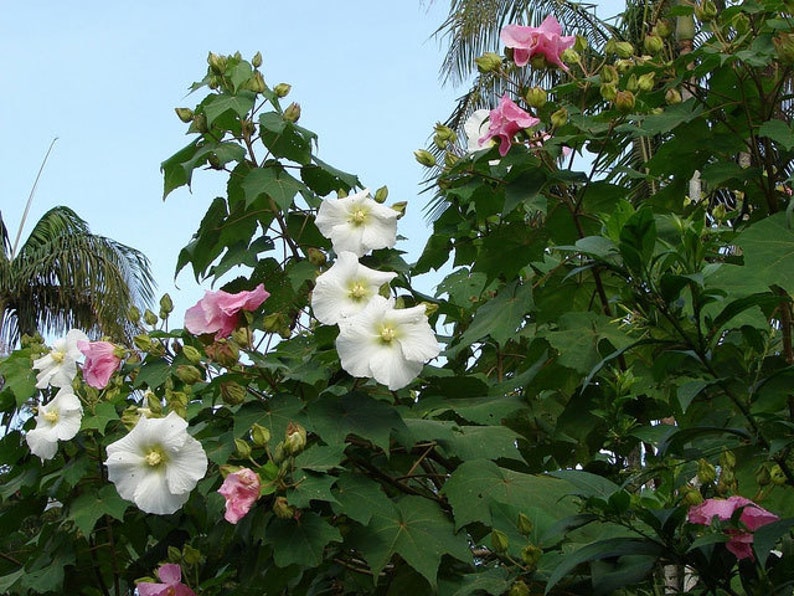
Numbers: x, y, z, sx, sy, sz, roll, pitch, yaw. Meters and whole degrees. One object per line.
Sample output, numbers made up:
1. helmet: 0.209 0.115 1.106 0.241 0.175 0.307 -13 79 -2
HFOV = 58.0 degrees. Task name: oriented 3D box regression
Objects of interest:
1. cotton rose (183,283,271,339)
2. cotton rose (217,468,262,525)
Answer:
1. cotton rose: -0.541 0.052 2.310 0.183 0.087 0.184 -30 7 -3
2. cotton rose: -0.457 0.571 2.069 0.141 0.143 0.067 -7 -12 35
